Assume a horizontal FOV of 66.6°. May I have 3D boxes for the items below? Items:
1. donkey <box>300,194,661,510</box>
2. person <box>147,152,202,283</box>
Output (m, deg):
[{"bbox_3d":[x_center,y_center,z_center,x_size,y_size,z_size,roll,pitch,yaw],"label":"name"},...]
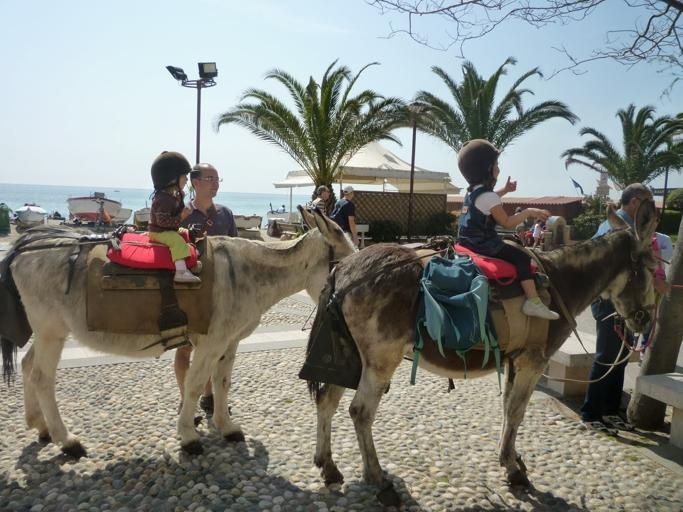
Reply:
[{"bbox_3d":[1.327,0.707,4.954,3.508,2.562,1.205,-2,10,-22],"label":"donkey"},{"bbox_3d":[-1.560,-0.368,4.755,0.401,1.139,0.681,-2,10,-22],"label":"person"}]
